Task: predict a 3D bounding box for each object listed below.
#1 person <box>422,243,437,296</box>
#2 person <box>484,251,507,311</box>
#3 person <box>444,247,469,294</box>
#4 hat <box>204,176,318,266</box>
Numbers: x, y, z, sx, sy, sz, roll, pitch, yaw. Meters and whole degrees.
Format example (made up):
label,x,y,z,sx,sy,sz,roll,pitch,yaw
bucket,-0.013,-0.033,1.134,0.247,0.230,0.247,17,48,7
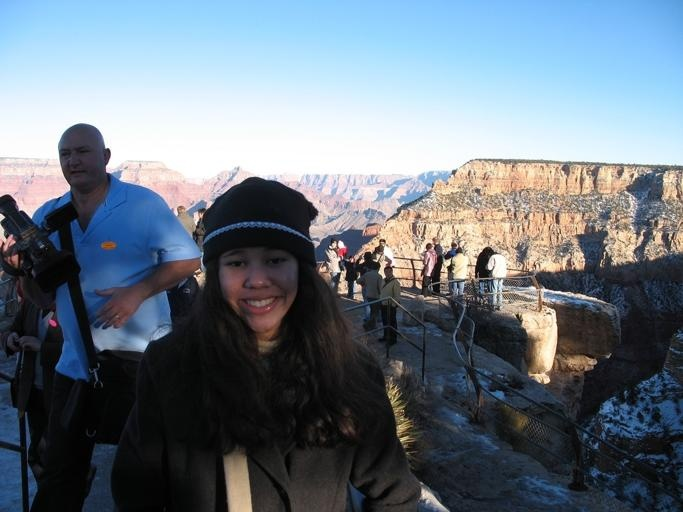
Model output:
label,x,y,z,sx,sy,sz,roll,pitch,yaw
person,3.015,0.470,15.586,0.438,1.436,1.009,1,0,10
person,4.899,0.834,14.280,0.518,1.586,1.962,1,0,20
person,3.720,0.492,14.469,0.600,1.280,2.404,1,0,13
hat,-0.315,-0.156,1.812,0.383,0.272,0.389,1,-14,-10
